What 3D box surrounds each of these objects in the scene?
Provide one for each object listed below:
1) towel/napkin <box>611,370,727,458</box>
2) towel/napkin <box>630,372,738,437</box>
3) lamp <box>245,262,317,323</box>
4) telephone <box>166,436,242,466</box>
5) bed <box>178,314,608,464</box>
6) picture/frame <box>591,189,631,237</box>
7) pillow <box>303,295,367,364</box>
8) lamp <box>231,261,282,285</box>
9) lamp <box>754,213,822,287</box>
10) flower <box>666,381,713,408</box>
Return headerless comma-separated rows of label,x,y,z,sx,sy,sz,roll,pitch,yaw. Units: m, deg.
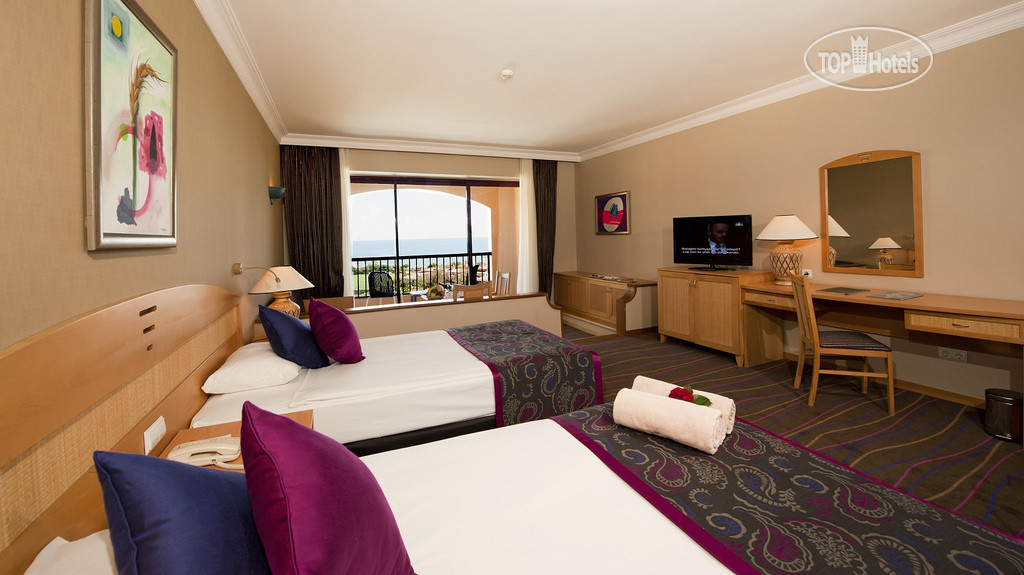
towel/napkin,1.135,0.869,4.023,0.548,0.203,0.541,12,17,30
towel/napkin,1.258,0.758,4.115,0.490,0.166,0.489,11,11,37
lamp,-2.295,0.020,5.808,0.578,0.500,0.554,-5,4,-20
telephone,-2.040,1.081,3.869,0.434,0.103,0.319,1,0,-9
bed,-0.753,0.829,4.988,2.331,0.555,1.278,-5,9,-27
picture/frame,1.553,-1.174,8.982,0.036,0.589,0.813,-2,7,-24
pillow,-1.495,0.363,5.107,0.517,0.765,0.854,-6,2,-22
lamp,-2.533,-0.174,5.691,0.361,0.142,0.187,0,2,12
lamp,3.163,-0.450,6.692,0.771,0.802,0.735,-1,5,7
flower,1.251,0.744,4.066,0.213,0.085,0.141,10,1,31
